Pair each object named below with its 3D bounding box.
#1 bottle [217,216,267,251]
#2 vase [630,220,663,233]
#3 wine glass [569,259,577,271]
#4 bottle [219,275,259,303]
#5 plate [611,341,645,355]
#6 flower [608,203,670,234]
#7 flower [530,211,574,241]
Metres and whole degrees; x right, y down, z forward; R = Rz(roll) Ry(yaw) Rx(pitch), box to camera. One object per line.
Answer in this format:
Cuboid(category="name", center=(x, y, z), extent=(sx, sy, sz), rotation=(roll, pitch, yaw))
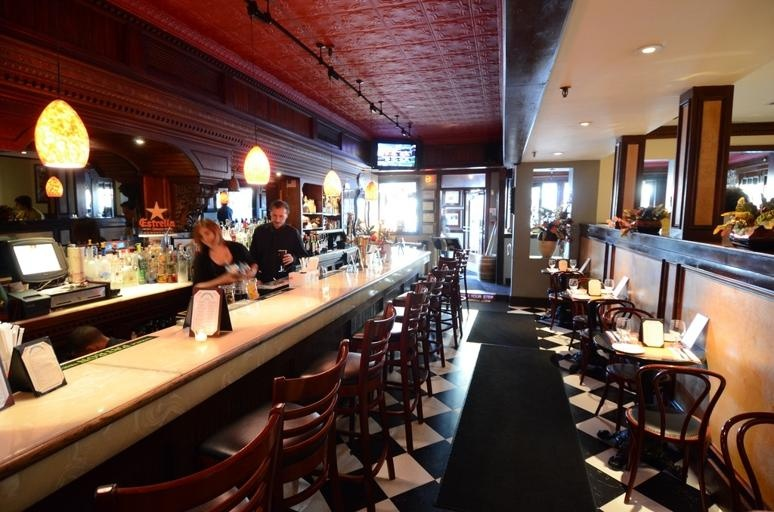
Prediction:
Cuboid(category="bottle", center=(-1.925, -0.312, 6.736), extent=(0.385, 0.249, 0.554), rotation=(-7, 7, -44))
Cuboid(category="vase", center=(3.192, -0.363, 6.416), extent=(0.334, 0.169, 0.188), rotation=(4, 9, 29))
Cuboid(category="wine glass", center=(3.036, 0.143, 8.493), extent=(0.144, 0.261, 0.144), rotation=(2, 8, 11))
Cuboid(category="bottle", center=(-1.366, 0.333, 4.868), extent=(0.199, 0.190, 0.271), rotation=(-4, -4, 38))
Cuboid(category="plate", center=(2.253, 0.856, 4.835), extent=(0.282, 0.025, 0.291), rotation=(1, 8, 12))
Cuboid(category="flower", center=(3.364, -0.472, 6.613), extent=(0.605, 0.258, 0.607), rotation=(-8, 9, -32))
Cuboid(category="flower", center=(3.063, -0.520, 9.394), extent=(0.581, 0.459, 0.638), rotation=(-9, 11, -40))
